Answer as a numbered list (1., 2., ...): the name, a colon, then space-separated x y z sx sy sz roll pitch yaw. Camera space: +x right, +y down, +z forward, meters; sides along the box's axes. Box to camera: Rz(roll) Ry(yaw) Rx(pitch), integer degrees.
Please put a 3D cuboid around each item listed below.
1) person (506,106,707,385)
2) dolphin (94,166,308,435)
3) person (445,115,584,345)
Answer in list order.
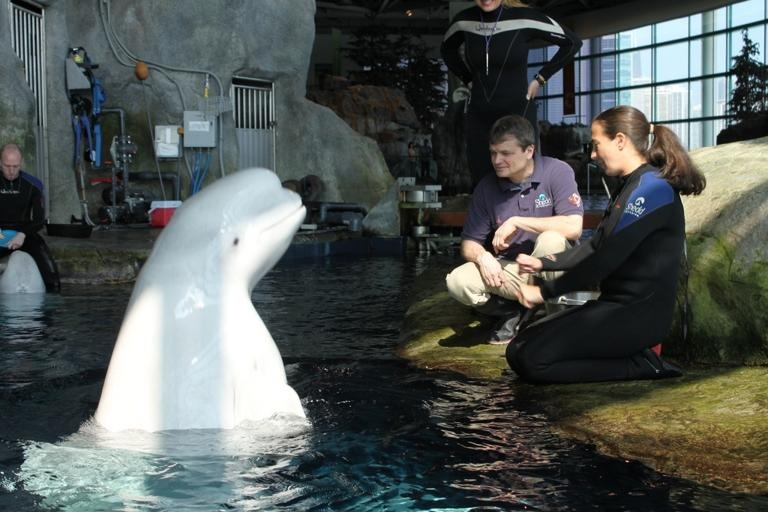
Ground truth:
1. person: 1.018 -0.096 3.637 0.825 1.311 0.544 0 2 -11
2. dolphin: -0.646 0.164 2.693 0.752 0.883 0.236 -3 13 -7
3. person: 0.671 -0.186 4.306 0.719 1.309 0.798 4 -3 -25
